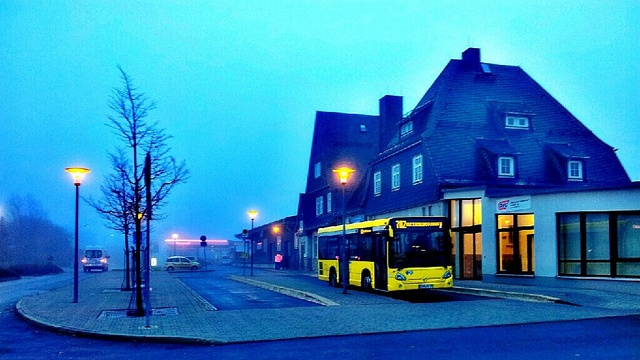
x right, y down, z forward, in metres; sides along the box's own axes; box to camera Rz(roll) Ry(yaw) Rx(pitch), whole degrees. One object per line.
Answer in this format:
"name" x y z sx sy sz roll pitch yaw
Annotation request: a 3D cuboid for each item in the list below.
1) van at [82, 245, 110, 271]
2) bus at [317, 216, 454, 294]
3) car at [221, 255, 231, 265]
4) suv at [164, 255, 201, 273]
"van" -27.112 9.498 77.525 2.878 2.938 5.640 0 0 7
"bus" 2.990 4.648 39.347 3.677 5.010 11.661 -3 1 -35
"car" -16.915 14.637 111.978 1.523 1.153 2.362 2 -15 -13
"suv" -16.362 10.062 73.637 3.518 1.314 1.906 -1 -3 -5
